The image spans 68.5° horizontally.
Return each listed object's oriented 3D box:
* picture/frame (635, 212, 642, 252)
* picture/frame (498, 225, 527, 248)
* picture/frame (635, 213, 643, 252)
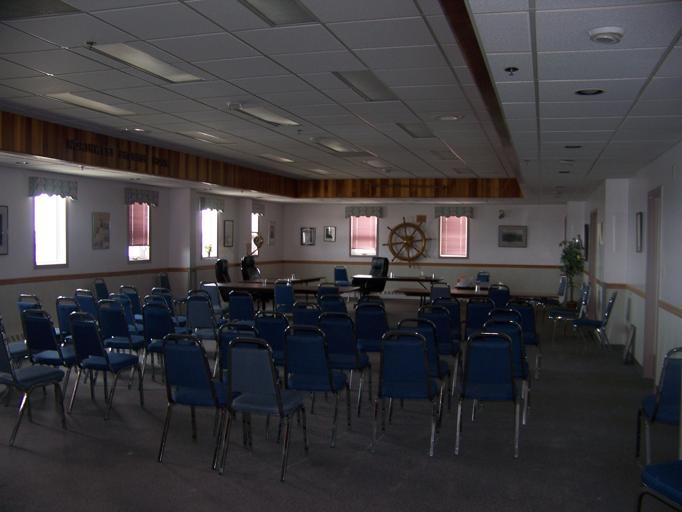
[{"bbox_3d":[4.790,-0.384,8.037,0.044,0.688,0.642,2,1,24],"label":"picture/frame"},{"bbox_3d":[5.478,-0.635,15.837,0.700,0.596,0.055,1,5,14],"label":"picture/frame"},{"bbox_3d":[4.781,-0.377,8.009,0.046,0.710,0.655,2,1,23],"label":"picture/frame"}]
